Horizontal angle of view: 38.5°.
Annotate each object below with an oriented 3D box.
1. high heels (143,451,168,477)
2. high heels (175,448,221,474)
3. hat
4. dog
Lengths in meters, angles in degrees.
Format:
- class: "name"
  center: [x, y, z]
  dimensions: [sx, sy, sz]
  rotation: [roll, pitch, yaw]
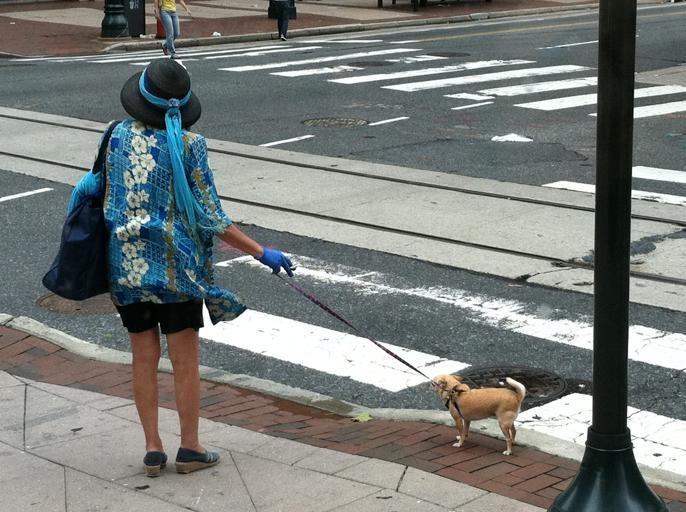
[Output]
- class: "high heels"
  center: [-1.182, 1.278, 6.080]
  dimensions: [0.116, 0.066, 0.216]
  rotation: [-1, 6, -7]
- class: "high heels"
  center: [-0.934, 1.275, 6.128]
  dimensions: [0.343, 0.090, 0.126]
  rotation: [-2, 5, -39]
- class: "hat"
  center: [-1.127, -0.993, 5.997]
  dimensions: [0.466, 0.423, 0.341]
  rotation: [-4, 18, -7]
- class: "dog"
  center: [0.862, 0.988, 6.431]
  dimensions: [0.579, 0.554, 0.307]
  rotation: [13, 25, 39]
